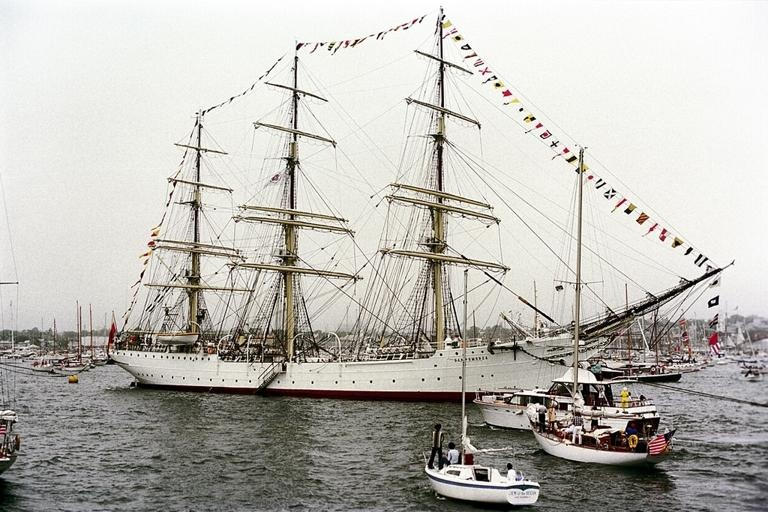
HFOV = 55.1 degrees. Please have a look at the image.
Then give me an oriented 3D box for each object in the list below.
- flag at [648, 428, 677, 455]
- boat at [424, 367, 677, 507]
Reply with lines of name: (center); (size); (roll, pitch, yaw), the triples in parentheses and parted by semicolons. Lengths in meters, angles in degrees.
flag: (19.685, 13.215, 52.234); (2.772, 1.135, 0.276); (-20, -27, 9)
boat: (12.197, 13.622, 54.858); (22.256, 13.500, 7.120); (-1, -3, 6)
